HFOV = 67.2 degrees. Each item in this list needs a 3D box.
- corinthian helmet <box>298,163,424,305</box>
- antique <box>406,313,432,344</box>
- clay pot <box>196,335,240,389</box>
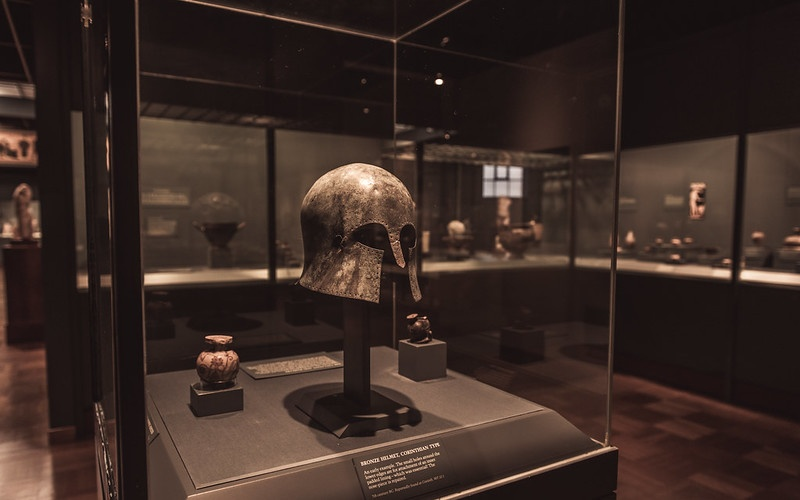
[{"bbox_3d":[-0.296,-0.124,4.133,0.804,0.927,0.832,1,1,-8],"label":"corinthian helmet"},{"bbox_3d":[0.148,0.600,4.488,0.211,0.217,0.162,2,-3,-11],"label":"antique"},{"bbox_3d":[-1.209,0.755,4.093,0.317,0.372,0.318,0,-5,0],"label":"clay pot"}]
